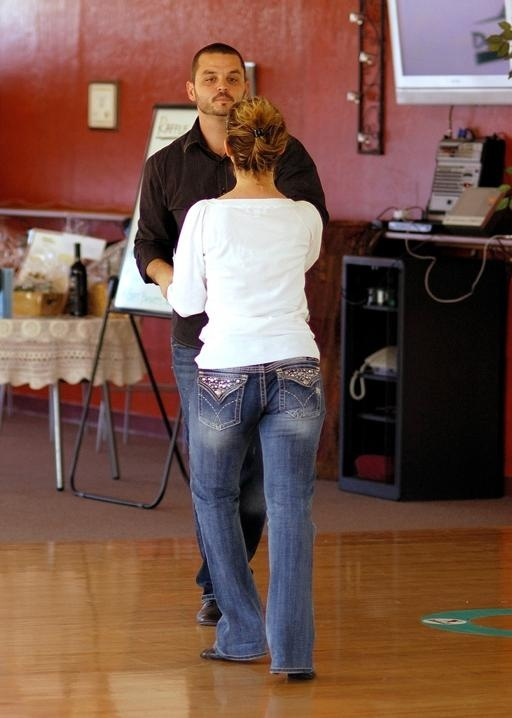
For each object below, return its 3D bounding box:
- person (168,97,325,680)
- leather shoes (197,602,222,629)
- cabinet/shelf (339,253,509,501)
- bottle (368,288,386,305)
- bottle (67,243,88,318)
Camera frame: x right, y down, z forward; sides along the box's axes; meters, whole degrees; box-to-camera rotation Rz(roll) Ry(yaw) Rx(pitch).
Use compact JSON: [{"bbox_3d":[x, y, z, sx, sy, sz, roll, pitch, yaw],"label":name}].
[{"bbox_3d":[-0.019,0.111,1.606,0.331,1.263,0.369,0,0,-6],"label":"person"},{"bbox_3d":[-0.134,0.737,2.183,0.056,0.061,0.148,2,-11,-5],"label":"leather shoes"},{"bbox_3d":[0.841,0.091,3.804,0.838,1.229,0.423,0,0,6],"label":"cabinet/shelf"},{"bbox_3d":[0.608,-0.315,3.789,0.083,0.084,0.079,-4,9,-36],"label":"bottle"},{"bbox_3d":[-0.922,-0.411,3.920,0.109,0.401,0.309,0,0,-14],"label":"bottle"}]
